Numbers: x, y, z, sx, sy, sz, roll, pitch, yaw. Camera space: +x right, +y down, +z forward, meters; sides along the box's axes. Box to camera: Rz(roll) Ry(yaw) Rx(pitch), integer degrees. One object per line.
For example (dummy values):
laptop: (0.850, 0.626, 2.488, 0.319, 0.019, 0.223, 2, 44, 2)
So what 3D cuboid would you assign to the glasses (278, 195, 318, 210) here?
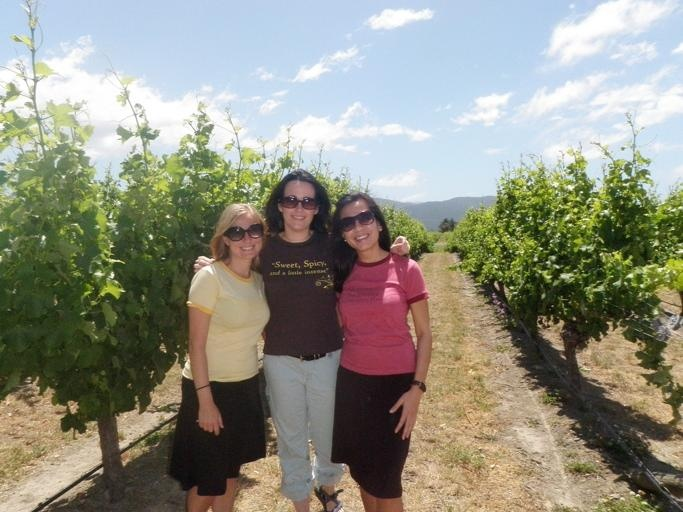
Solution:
glasses: (-0.456, -0.553, 4.392, 0.386, 0.136, 0.162, 0, 6, -3)

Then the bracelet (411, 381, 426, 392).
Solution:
bracelet: (0.732, 1.253, 4.005, 0.121, 0.080, 0.131, 1, -27, 23)

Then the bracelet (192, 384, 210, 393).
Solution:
bracelet: (-1.285, 1.213, 3.947, 0.141, 0.076, 0.093, -3, 6, -24)
